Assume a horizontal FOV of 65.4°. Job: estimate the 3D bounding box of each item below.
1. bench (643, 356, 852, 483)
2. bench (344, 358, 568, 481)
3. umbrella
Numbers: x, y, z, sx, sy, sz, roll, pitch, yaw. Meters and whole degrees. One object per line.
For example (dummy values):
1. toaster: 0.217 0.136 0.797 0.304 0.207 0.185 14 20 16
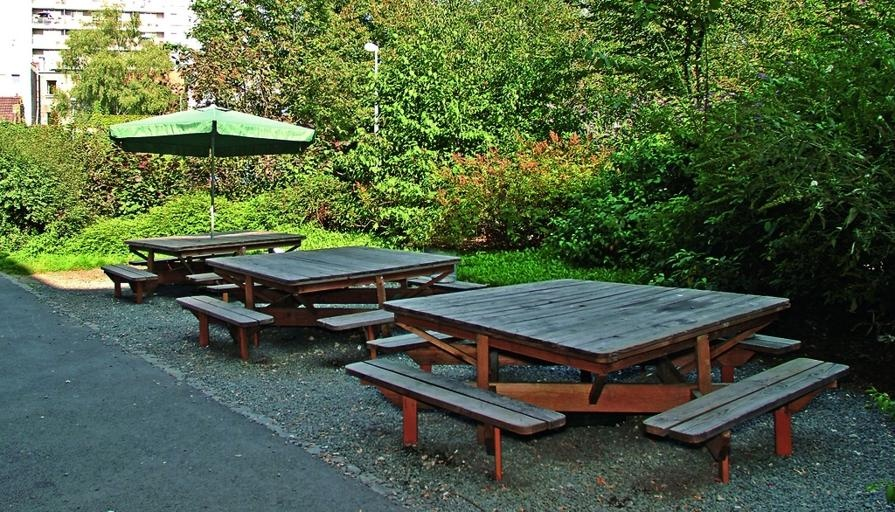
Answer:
1. bench: 3.247 1.780 7.371 2.704 0.681 0.730 -10 7 -31
2. bench: 0.020 1.786 7.512 2.662 0.711 0.671 9 14 39
3. umbrella: -4.473 -2.002 13.317 3.453 1.844 3.553 -5 10 -38
